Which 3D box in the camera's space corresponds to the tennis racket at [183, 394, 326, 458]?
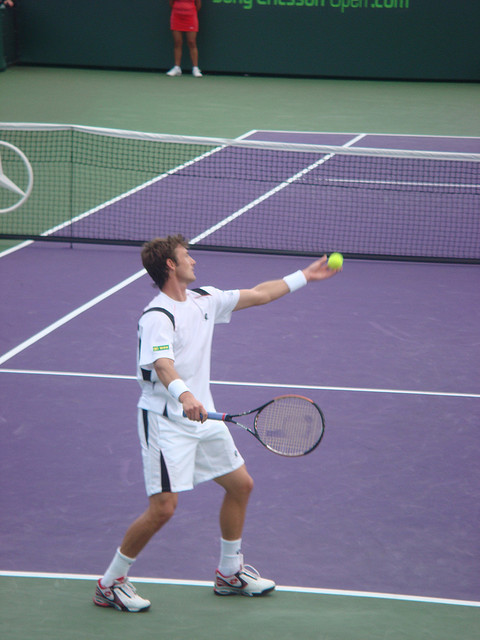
[{"bbox_3d":[0.026,0.430,3.218,0.759,0.255,0.051,0,-5,36],"label":"tennis racket"}]
